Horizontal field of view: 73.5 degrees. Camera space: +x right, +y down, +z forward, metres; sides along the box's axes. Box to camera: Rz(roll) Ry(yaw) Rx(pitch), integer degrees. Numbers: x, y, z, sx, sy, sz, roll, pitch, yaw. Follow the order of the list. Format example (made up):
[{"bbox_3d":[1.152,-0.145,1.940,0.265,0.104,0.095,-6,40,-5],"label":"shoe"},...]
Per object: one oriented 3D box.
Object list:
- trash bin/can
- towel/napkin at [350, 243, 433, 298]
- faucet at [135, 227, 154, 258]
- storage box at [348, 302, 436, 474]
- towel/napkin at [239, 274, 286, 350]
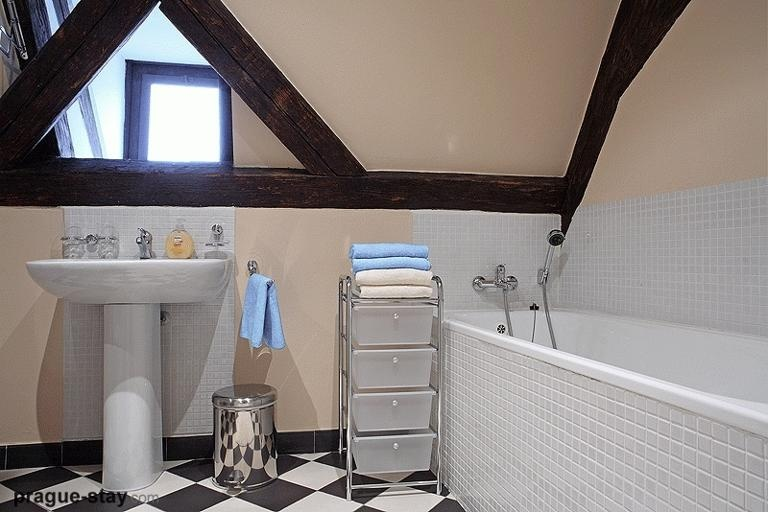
[{"bbox_3d":[-0.690,1.006,2.873,0.390,0.484,0.481,1,0,-8],"label":"trash bin/can"},{"bbox_3d":[0.052,0.081,2.672,0.331,0.163,0.319,0,9,-7],"label":"towel/napkin"},{"bbox_3d":[-1.397,-0.080,3.026,0.099,0.177,0.124,2,-2,-24],"label":"faucet"},{"bbox_3d":[0.046,0.684,2.752,0.495,0.913,0.258,2,-2,-4],"label":"storage box"},{"bbox_3d":[-0.711,0.324,2.947,0.205,0.421,0.395,-6,11,-31],"label":"towel/napkin"}]
